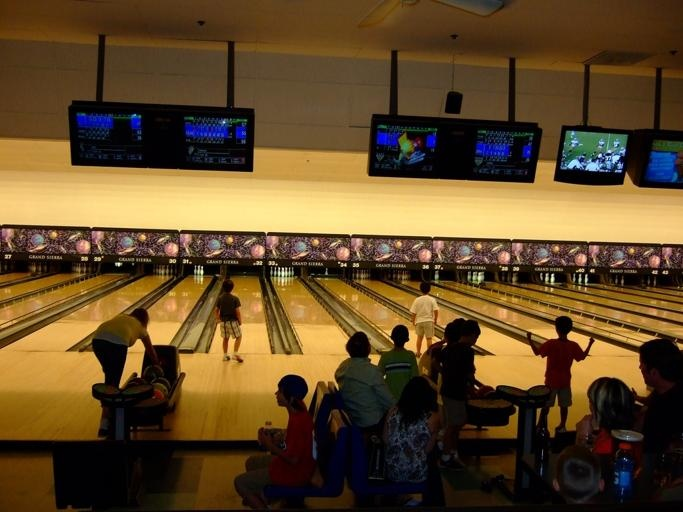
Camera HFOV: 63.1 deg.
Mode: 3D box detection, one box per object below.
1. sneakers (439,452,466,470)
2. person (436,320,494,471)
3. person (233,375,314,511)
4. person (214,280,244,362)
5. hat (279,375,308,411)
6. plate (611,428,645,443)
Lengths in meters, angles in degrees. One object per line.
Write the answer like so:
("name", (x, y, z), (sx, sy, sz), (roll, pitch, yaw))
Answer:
("sneakers", (0.811, 1.498, 4.064), (0.194, 0.097, 0.079), (-1, 2, 22))
("person", (0.908, 1.030, 4.288), (0.267, 0.999, 0.648), (2, 6, 15))
("person", (-0.423, 1.128, 3.403), (0.423, 0.883, 0.528), (-4, 7, -35))
("person", (-1.264, 0.702, 6.281), (0.270, 0.920, 0.544), (-1, 6, -12))
("hat", (-0.268, 0.800, 3.280), (0.170, 0.201, 0.164), (3, 7, 22))
("plate", (1.427, 0.913, 2.773), (0.139, 0.041, 0.132), (4, 7, 29))
